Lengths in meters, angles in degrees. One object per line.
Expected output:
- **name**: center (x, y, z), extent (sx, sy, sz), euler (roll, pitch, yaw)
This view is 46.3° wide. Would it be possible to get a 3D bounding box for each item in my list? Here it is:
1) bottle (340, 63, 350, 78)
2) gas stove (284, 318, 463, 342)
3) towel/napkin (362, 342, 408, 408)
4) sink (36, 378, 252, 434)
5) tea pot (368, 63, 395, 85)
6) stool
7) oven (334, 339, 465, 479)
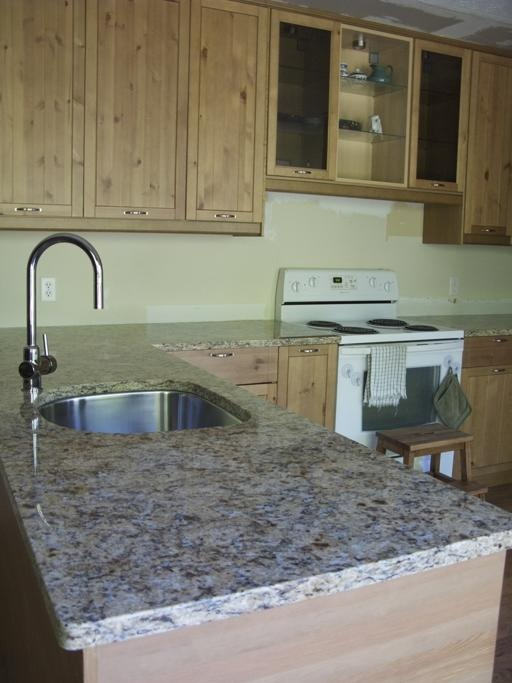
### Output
- **bottle**: center (0.441, -1.355, 2.985), extent (0.048, 0.064, 0.072), euler (11, 17, 41)
- **gas stove**: center (0.619, -0.051, 3.043), extent (0.890, 0.057, 0.478), euler (0, 8, -18)
- **towel/napkin**: center (0.599, 0.146, 2.823), extent (0.326, 0.385, 0.085), euler (-3, 7, -26)
- **sink**: center (-0.248, 0.179, 1.421), extent (0.447, 0.125, 0.255), euler (3, 7, 4)
- **tea pot**: center (0.653, -1.392, 3.108), extent (0.133, 0.090, 0.098), euler (8, 22, 27)
- **stool**: center (0.724, 0.556, 2.692), extent (0.368, 0.304, 0.356), euler (-1, 7, -28)
- **oven**: center (0.633, 0.250, 3.128), extent (0.755, 0.642, 0.489), euler (-2, 8, -17)
